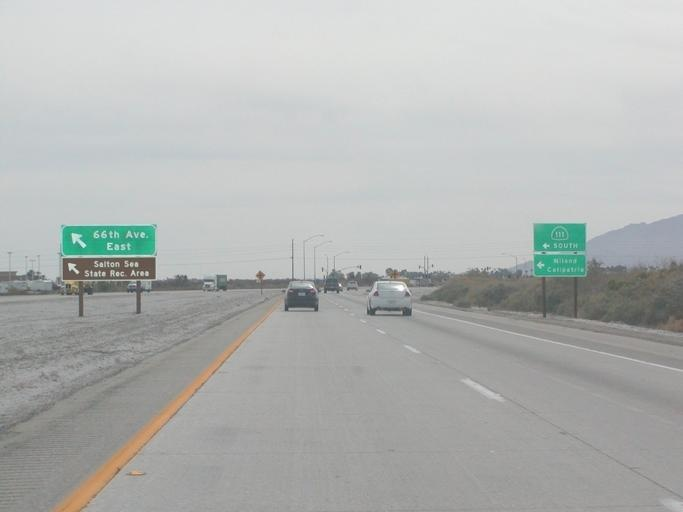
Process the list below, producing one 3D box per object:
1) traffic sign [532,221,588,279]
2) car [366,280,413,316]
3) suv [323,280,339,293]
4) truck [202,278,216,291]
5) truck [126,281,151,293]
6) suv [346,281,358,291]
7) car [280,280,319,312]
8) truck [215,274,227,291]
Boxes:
[{"bbox_3d":[10.554,-0.351,33.632,2.373,2.663,0.101,-1,7,4],"label":"traffic sign"},{"bbox_3d":[2.458,2.118,36.561,1.341,1.242,2.450,0,5,-1],"label":"car"},{"bbox_3d":[-1.387,3.795,93.655,2.342,1.591,1.325,-3,-2,41],"label":"suv"},{"bbox_3d":[-21.922,4.727,115.100,1.306,1.411,2.409,0,-7,0],"label":"truck"},{"bbox_3d":[-26.837,4.053,91.701,2.011,1.837,3.428,1,-10,-10],"label":"truck"},{"bbox_3d":[1.717,5.067,120.497,1.303,1.277,2.893,2,2,3],"label":"suv"},{"bbox_3d":[-2.371,2.285,40.096,1.867,1.632,2.227,-2,-1,-7],"label":"car"},{"bbox_3d":[-19.797,4.222,112.937,2.722,2.887,4.445,0,-4,-11],"label":"truck"}]
